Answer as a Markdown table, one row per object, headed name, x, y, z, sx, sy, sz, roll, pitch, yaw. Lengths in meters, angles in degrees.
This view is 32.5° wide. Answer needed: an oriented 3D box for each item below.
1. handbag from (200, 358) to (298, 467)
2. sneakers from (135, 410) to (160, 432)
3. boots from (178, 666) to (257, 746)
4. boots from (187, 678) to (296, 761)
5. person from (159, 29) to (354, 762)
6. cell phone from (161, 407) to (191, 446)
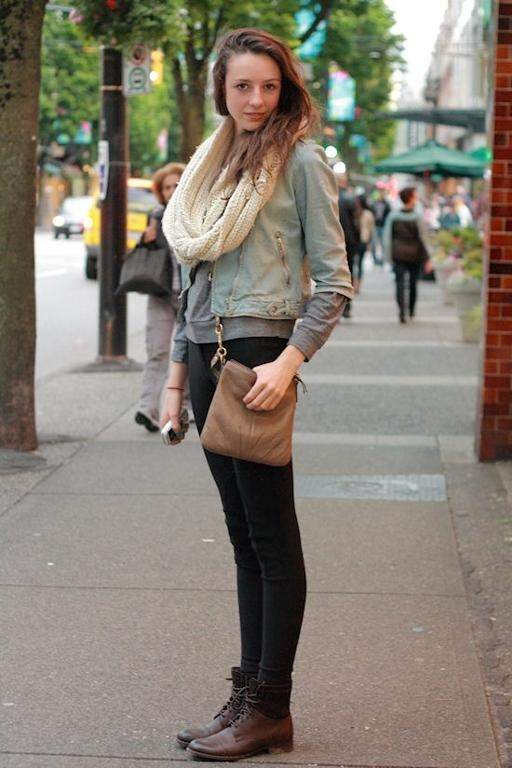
| name | x | y | z | sx | sy | sz | roll | pitch | yaw |
| --- | --- | --- | --- | --- | --- | --- | --- | --- | --- |
| handbag | -0.017 | 0.065 | 1.959 | 0.205 | 0.226 | 0.099 | -1 | 8 | -5 |
| sneakers | -0.790 | 0.284 | 6.519 | 0.180 | 0.063 | 0.088 | 41 | 11 | -3 |
| boots | -0.080 | 0.839 | 2.250 | 0.210 | 0.138 | 0.082 | 5 | -15 | -26 |
| boots | -0.086 | 0.832 | 2.228 | 0.343 | 0.225 | 0.130 | 0 | 0 | -10 |
| person | -0.007 | 0.045 | 2.170 | 0.399 | 1.775 | 0.508 | -5 | 8 | -25 |
| cell phone | -0.212 | 0.114 | 2.351 | 0.022 | 0.089 | 0.090 | 28 | 60 | 33 |
